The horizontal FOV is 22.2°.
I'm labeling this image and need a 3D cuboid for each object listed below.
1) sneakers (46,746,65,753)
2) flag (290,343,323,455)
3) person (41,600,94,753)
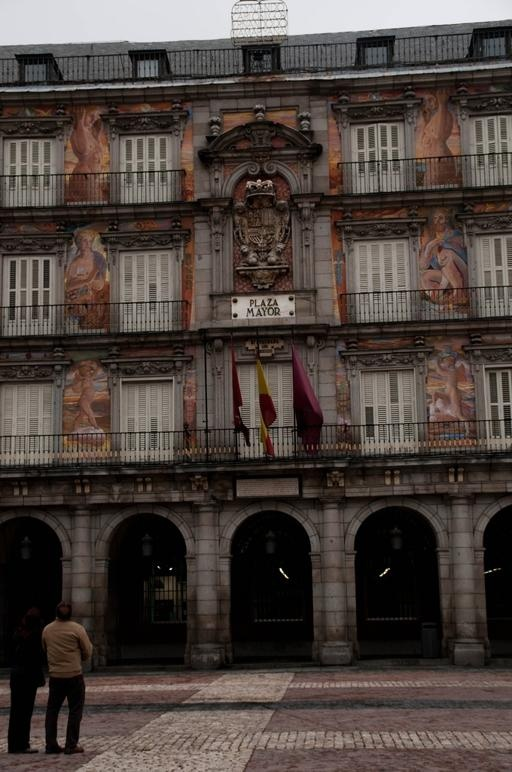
[{"bbox_3d":[-2.740,4.940,17.771,0.243,0.115,0.280,0,-12,-12],"label":"sneakers"},{"bbox_3d":[1.239,0.214,32.629,0.665,2.331,1.278,-3,-11,1],"label":"flag"},{"bbox_3d":[-2.602,3.994,17.937,0.640,2.035,0.605,0,-12,-12],"label":"person"}]
